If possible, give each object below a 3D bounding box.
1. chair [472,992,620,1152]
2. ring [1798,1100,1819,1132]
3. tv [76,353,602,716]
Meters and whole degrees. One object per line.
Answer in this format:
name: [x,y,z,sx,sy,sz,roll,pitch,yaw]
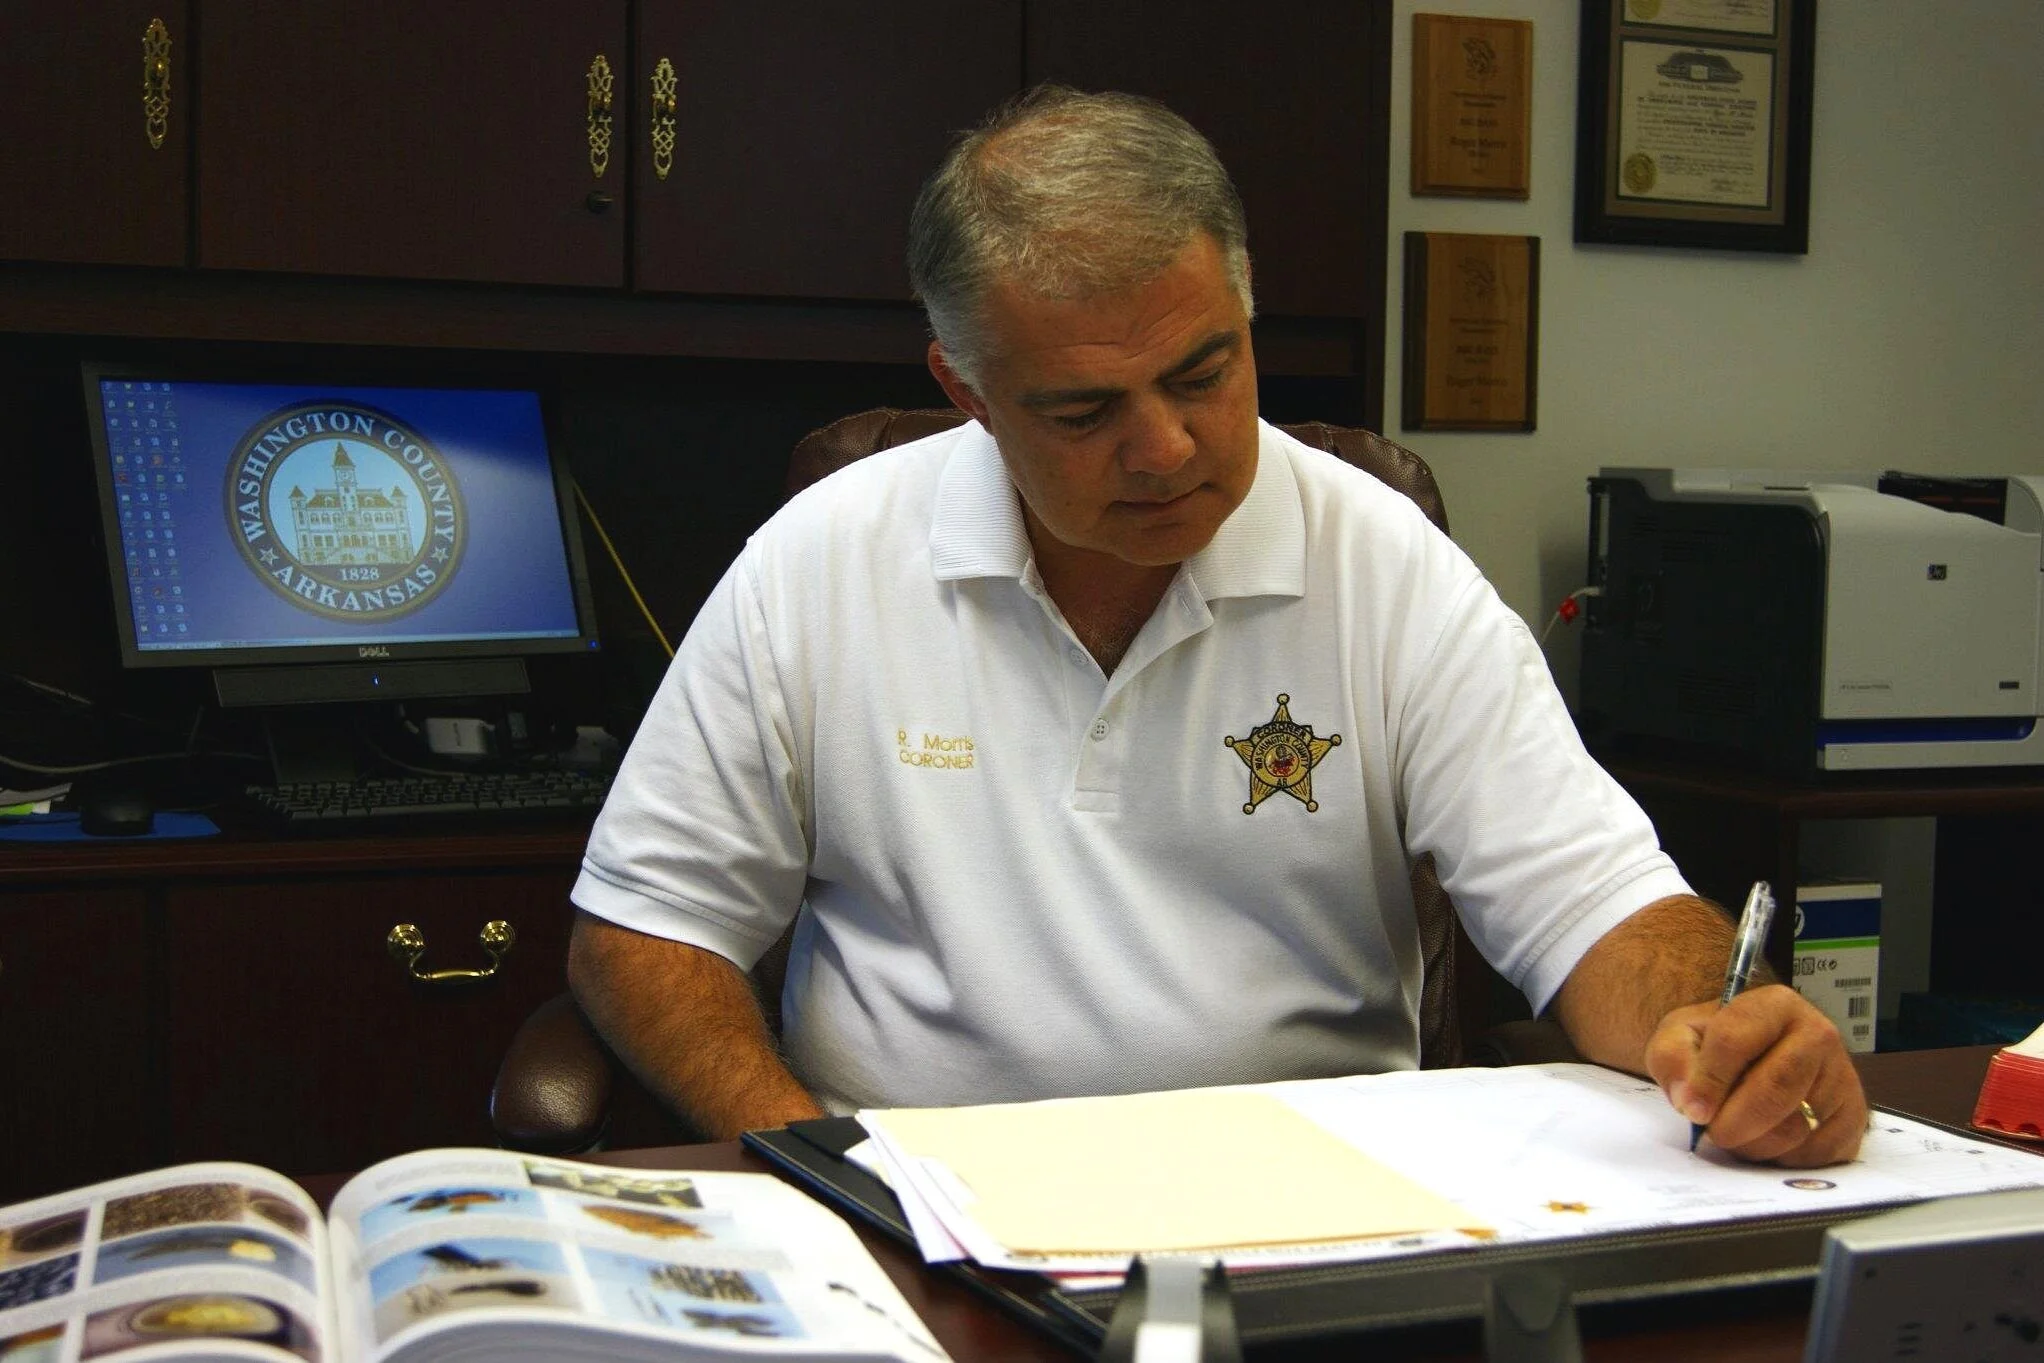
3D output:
chair: [-0.480,0.398,1.561,0.135,0.179,0.180,-5,-2,-16]
ring: [0.579,0.318,1.168,0.004,0.017,0.017,-8,11,12]
tv: [-1.032,-0.211,2.315,0.507,0.370,0.135,-1,-8,-26]
